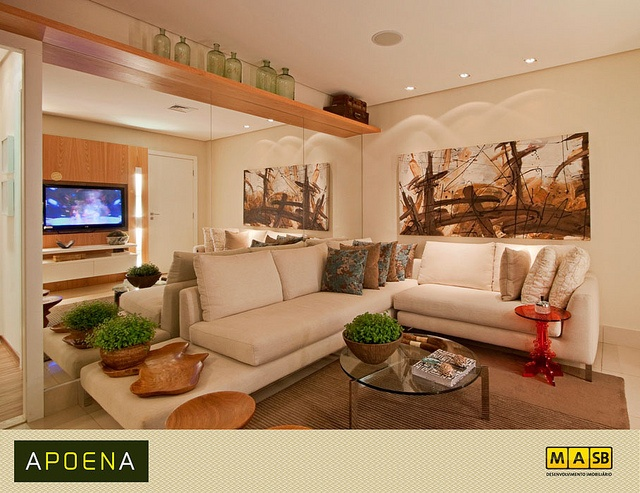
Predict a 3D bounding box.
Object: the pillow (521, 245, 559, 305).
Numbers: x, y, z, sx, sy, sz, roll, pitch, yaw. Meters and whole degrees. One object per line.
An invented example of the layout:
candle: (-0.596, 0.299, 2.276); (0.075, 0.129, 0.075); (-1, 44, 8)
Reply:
pillow: (2.059, 0.155, 3.953); (0.341, 0.537, 0.882); (-1, 7, 26)

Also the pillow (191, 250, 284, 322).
pillow: (-0.687, 0.309, 3.634); (0.327, 0.514, 0.967); (-4, 1, 29)

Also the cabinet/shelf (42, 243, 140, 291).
cabinet/shelf: (-1.657, 0.149, 2.966); (0.196, 0.254, 0.525); (-3, 3, 21)

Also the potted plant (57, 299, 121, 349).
potted plant: (-1.547, 0.518, 2.915); (0.374, 0.295, 0.340); (1, -4, -10)

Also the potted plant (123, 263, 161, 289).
potted plant: (-1.332, 0.222, 3.148); (0.196, 0.108, 0.178); (0, -3, 0)

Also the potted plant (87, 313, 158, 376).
potted plant: (-1.323, 0.651, 2.792); (0.397, 0.299, 0.398); (-1, -7, -38)

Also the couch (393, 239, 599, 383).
couch: (1.707, 0.448, 4.077); (1.747, 0.913, 0.948); (3, 15, 39)

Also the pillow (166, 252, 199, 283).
pillow: (-1.070, 0.175, 3.487); (0.164, 0.261, 0.417); (0, -3, 25)

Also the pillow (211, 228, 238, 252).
pillow: (-0.868, -0.062, 3.760); (0.084, 0.180, 0.237); (-17, -8, 35)

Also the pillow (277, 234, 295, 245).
pillow: (-0.377, -0.079, 4.487); (0.122, 0.068, 0.181); (-4, 4, -2)

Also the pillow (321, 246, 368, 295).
pillow: (0.244, 0.245, 4.154); (0.493, 0.410, 0.142); (3, -15, 27)

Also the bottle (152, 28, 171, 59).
bottle: (-1.256, -1.607, 3.312); (0.127, 0.260, 0.202); (-4, 13, -16)

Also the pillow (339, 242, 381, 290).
pillow: (0.404, 0.213, 4.252); (0.516, 0.475, 0.197); (0, -11, 44)

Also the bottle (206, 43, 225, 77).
bottle: (-0.917, -1.634, 3.686); (0.233, 0.248, 0.210); (11, 28, -1)

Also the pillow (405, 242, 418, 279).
pillow: (1.066, 0.182, 4.936); (0.112, 0.315, 0.354); (10, 8, 22)

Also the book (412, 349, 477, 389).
book: (0.797, 0.763, 2.685); (0.316, 0.052, 0.295); (5, 22, 44)

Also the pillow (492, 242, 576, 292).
pillow: (2.212, 0.245, 4.605); (1.103, 0.552, 1.111); (0, -1, 35)

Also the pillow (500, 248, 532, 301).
pillow: (1.797, 0.267, 3.865); (0.204, 0.418, 0.552); (4, 3, 42)

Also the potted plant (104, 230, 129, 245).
potted plant: (-1.447, -0.063, 2.991); (0.109, 0.062, 0.099); (0, -4, 3)

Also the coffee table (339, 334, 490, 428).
coffee table: (0.624, 0.927, 2.868); (0.941, 0.314, 0.857); (-9, 9, -20)

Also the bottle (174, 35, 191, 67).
bottle: (-1.144, -1.625, 3.487); (0.131, 0.271, 0.312); (-4, 12, -15)

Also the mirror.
mirror: (-1.131, -0.287, 4.507); (2.700, 1.746, 2.680); (3, 4, 38)

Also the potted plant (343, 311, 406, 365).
potted plant: (0.338, 0.602, 2.870); (0.381, 0.230, 0.360); (-1, -2, 2)

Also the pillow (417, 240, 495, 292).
pillow: (1.522, 0.197, 4.585); (0.824, 0.474, 0.299); (1, 6, 36)

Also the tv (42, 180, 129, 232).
tv: (-1.631, -0.283, 2.863); (0.442, 0.251, 0.041); (-2, 4, -31)
